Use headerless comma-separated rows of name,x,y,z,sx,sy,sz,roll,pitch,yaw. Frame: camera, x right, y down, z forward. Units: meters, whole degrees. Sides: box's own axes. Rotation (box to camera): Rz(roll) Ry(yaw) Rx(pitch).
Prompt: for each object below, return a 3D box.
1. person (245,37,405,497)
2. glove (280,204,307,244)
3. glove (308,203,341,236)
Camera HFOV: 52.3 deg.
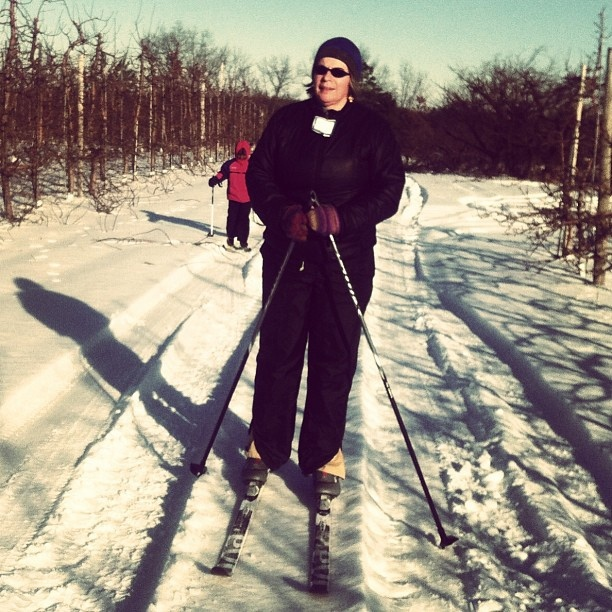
person,0.085,-0.149,3.147,0.763,2.286,0.612,0,15,-6
glove,-0.057,-0.397,2.970,0.054,0.168,0.120,-2,-2,-37
glove,0.084,-0.404,2.914,0.107,0.158,0.063,5,14,14
